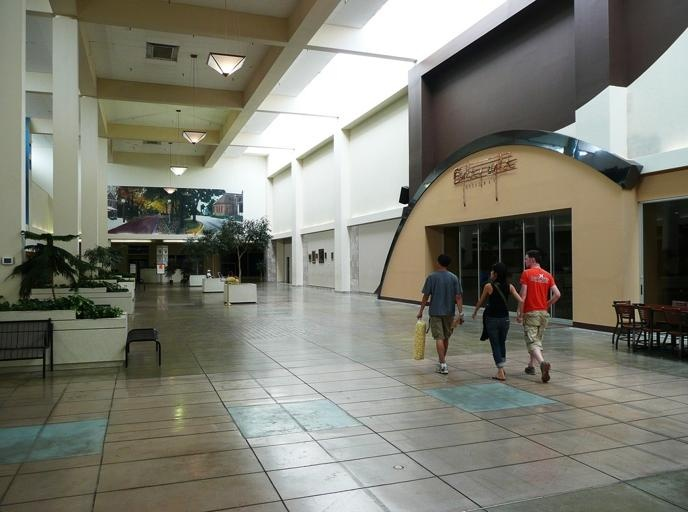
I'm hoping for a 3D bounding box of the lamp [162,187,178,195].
[{"bbox_3d":[-13.814,-5.214,36.794,1.080,0.504,1.233,-4,-7,-13],"label":"lamp"}]

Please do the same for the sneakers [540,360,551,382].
[{"bbox_3d":[3.312,1.879,7.568,0.138,0.388,0.165,-2,35,4],"label":"sneakers"}]

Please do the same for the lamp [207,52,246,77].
[{"bbox_3d":[-3.747,-6.216,14.685,1.222,0.643,0.668,0,0,27],"label":"lamp"}]

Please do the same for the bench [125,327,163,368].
[{"bbox_3d":[-3.980,1.918,9.177,0.579,0.486,1.342,-1,3,-16],"label":"bench"}]

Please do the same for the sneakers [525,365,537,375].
[{"bbox_3d":[3.296,2.002,8.148,0.095,0.103,0.235,0,4,7],"label":"sneakers"}]

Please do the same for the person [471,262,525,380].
[{"bbox_3d":[2.575,1.097,7.750,0.861,1.935,0.593,0,0,-44],"label":"person"}]

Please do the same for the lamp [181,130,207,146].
[{"bbox_3d":[-7.779,-6.235,23.847,0.835,0.815,2.429,0,0,-25],"label":"lamp"}]
